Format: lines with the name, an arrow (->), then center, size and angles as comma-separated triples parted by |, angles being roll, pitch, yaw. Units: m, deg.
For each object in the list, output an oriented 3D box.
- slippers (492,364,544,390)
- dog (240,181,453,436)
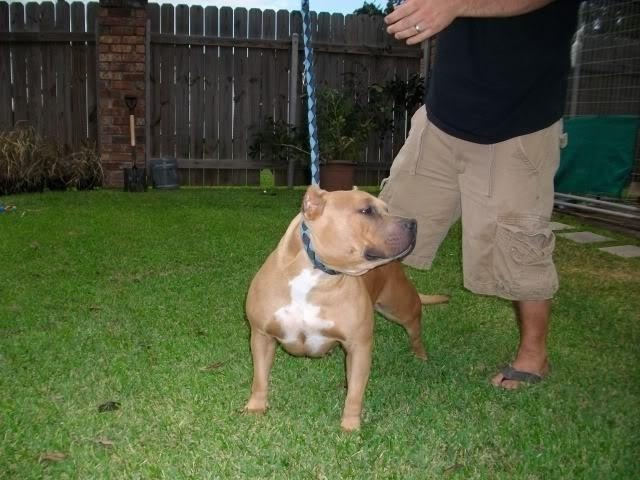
slippers -> 1.051, 0.713, 2.776 | 0.192, 0.073, 0.123 | 3, 0, -15
dog -> 0.089, 0.260, 2.510 | 0.953, 1.095, 0.590 | -5, 14, -16
